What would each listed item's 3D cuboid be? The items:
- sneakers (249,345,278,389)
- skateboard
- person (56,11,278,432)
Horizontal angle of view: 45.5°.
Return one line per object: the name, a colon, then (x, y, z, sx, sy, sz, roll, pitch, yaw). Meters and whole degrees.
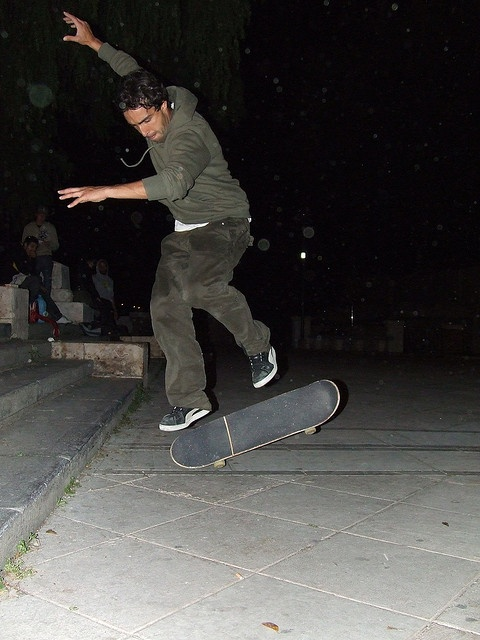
sneakers: (0.130, 0.258, 3.373, 0.115, 0.116, 0.295, -29, 15, 17)
skateboard: (0.060, 0.628, 3.130, 1.361, 0.320, 0.183, -21, -31, 24)
person: (-0.312, -0.352, 3.131, 0.587, 2.014, 1.124, 2, 1, 42)
